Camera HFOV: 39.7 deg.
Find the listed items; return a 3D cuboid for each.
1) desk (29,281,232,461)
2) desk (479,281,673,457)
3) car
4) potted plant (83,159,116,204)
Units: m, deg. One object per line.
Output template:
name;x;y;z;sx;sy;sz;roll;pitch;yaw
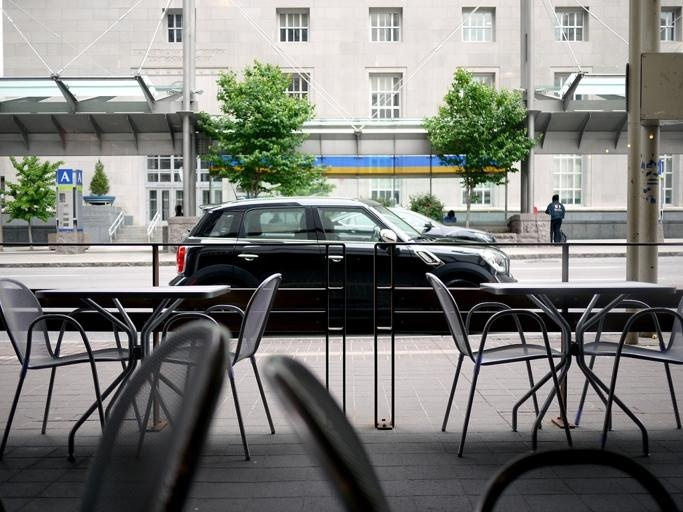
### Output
desk;-2.542;1.359;11.805;2.494;1.882;2.438;-2;-1;21
desk;2.792;1.338;11.414;2.204;1.961;2.129;-1;7;3
car;1.332;-0.451;16.699;2.543;0.802;1.117;-1;8;-3
potted plant;-11.426;-3.474;44.611;1.605;2.028;1.690;-2;5;-36
